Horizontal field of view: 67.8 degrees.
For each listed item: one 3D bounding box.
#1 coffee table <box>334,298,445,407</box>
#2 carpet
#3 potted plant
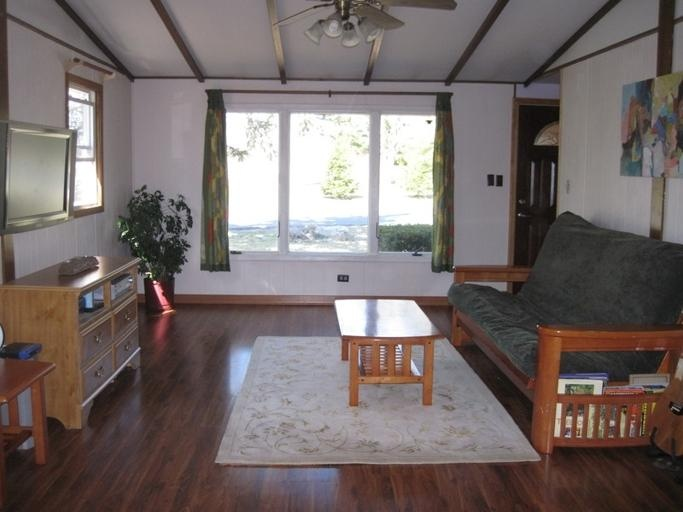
[{"bbox_3d":[0.392,0.684,4.419,0.742,0.610,1.478,-1,15,2],"label":"coffee table"},{"bbox_3d":[0.141,1.123,4.232,1.925,0.016,2.918,1,1,-3],"label":"carpet"},{"bbox_3d":[-2.163,-0.100,6.049,0.702,1.471,0.831,3,12,11],"label":"potted plant"}]
